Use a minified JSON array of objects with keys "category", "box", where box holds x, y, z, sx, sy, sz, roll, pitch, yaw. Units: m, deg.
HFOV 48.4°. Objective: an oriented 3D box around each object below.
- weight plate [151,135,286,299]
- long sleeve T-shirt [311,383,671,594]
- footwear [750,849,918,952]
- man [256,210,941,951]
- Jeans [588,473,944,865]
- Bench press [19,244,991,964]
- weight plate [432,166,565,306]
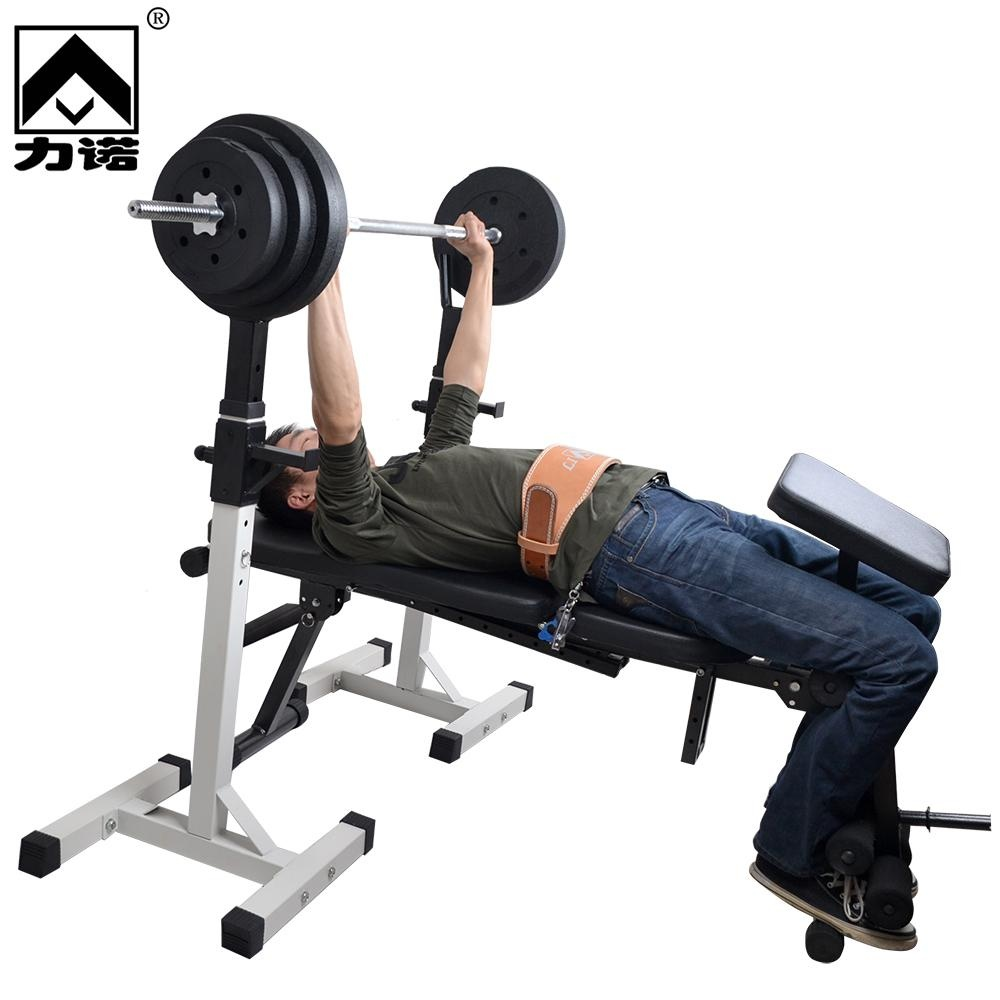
[{"category":"weight plate","box":[-0.533,-0.522,2.111,0.344,0.092,0.273,16,-74,11]},{"category":"long sleeve T-shirt","box":[-0.062,-0.007,2.608,0.626,0.528,0.189,8,-73,12]},{"category":"footwear","box":[0.695,0.829,2.315,0.335,0.184,0.067,4,-49,5]},{"category":"man","box":[0.223,0.007,2.587,1.738,0.671,1.374,7,-87,14]},{"category":"Jeans","box":[0.518,0.348,2.466,0.702,0.826,0.479,10,-48,1]},{"category":"Bench press","box":[0.207,0.160,2.533,2.026,1.330,1.123,11,-82,29]},{"category":"weight plate","box":[0.040,-0.717,3.149,0.494,0.105,0.374,3,-87,7]}]
